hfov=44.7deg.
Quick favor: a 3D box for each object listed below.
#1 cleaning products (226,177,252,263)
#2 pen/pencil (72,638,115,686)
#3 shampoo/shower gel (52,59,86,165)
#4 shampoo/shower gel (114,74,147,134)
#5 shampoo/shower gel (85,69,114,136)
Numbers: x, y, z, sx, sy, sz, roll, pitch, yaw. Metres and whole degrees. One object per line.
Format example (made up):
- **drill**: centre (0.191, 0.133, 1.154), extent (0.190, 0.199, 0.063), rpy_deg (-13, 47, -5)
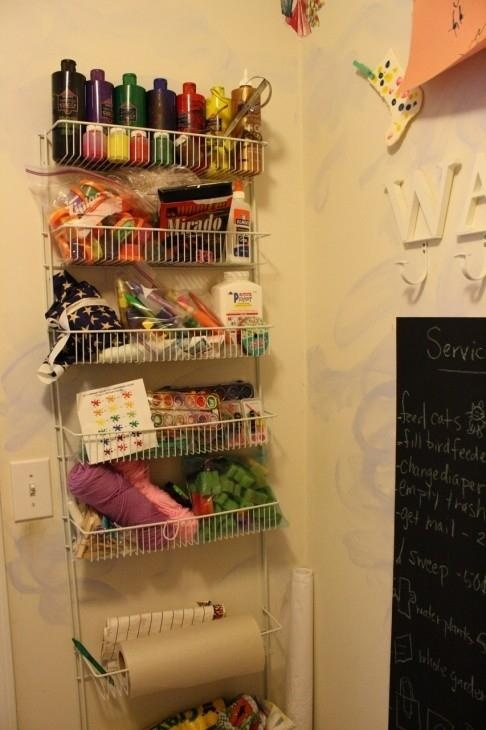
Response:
- **cleaning products**: centre (-0.009, -0.294, 1.222), extent (0.049, 0.165, 0.120), rpy_deg (2, 13, 18)
- **pen/pencil**: centre (-0.315, 0.621, 1.231), extent (0.024, 0.122, 0.021), rpy_deg (-35, 18, -5)
- **shampoo/shower gel**: centre (-0.326, -0.472, 1.093), extent (0.072, 0.179, 0.106), rpy_deg (-5, 12, -10)
- **shampoo/shower gel**: centre (-0.220, -0.505, 1.131), extent (0.058, 0.110, 0.096), rpy_deg (-2, 12, 1)
- **shampoo/shower gel**: centre (-0.273, -0.506, 1.122), extent (0.052, 0.114, 0.134), rpy_deg (-4, 12, -6)
